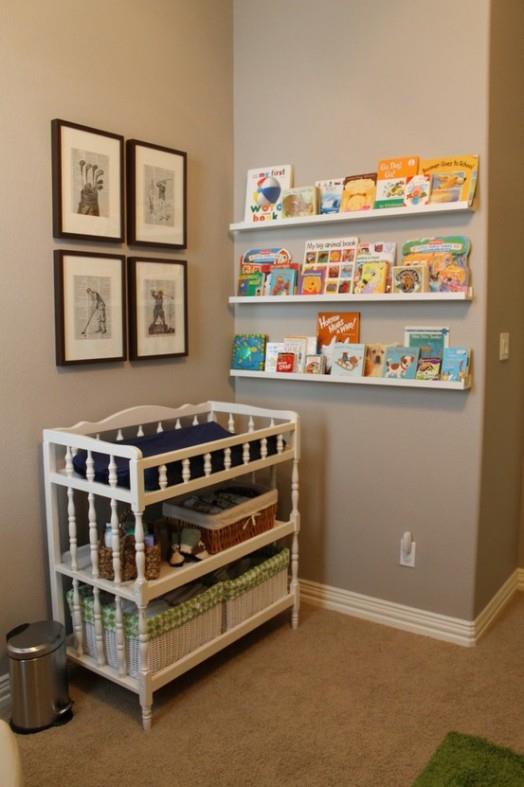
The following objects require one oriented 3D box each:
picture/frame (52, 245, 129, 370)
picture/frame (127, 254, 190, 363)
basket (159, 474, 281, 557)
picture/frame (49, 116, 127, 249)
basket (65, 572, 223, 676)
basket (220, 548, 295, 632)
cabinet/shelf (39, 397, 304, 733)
[{"bbox_3d":[-0.566,-0.286,1.929,0.041,0.514,0.350,6,11,32],"label":"picture/frame"},{"bbox_3d":[-0.392,-0.323,2.206,0.046,0.468,0.363,4,9,31],"label":"picture/frame"},{"bbox_3d":[-0.119,0.409,2.037,0.201,0.120,0.281,-1,2,39],"label":"basket"},{"bbox_3d":[-0.555,-0.672,1.908,0.062,0.372,0.293,1,3,29],"label":"picture/frame"},{"bbox_3d":[-0.360,0.700,1.888,0.349,0.217,0.400,1,3,34],"label":"basket"},{"bbox_3d":[-0.021,0.691,2.081,0.159,0.135,0.258,-10,3,35],"label":"basket"},{"bbox_3d":[-0.253,0.448,2.017,0.437,0.774,0.778,3,8,38],"label":"cabinet/shelf"}]
